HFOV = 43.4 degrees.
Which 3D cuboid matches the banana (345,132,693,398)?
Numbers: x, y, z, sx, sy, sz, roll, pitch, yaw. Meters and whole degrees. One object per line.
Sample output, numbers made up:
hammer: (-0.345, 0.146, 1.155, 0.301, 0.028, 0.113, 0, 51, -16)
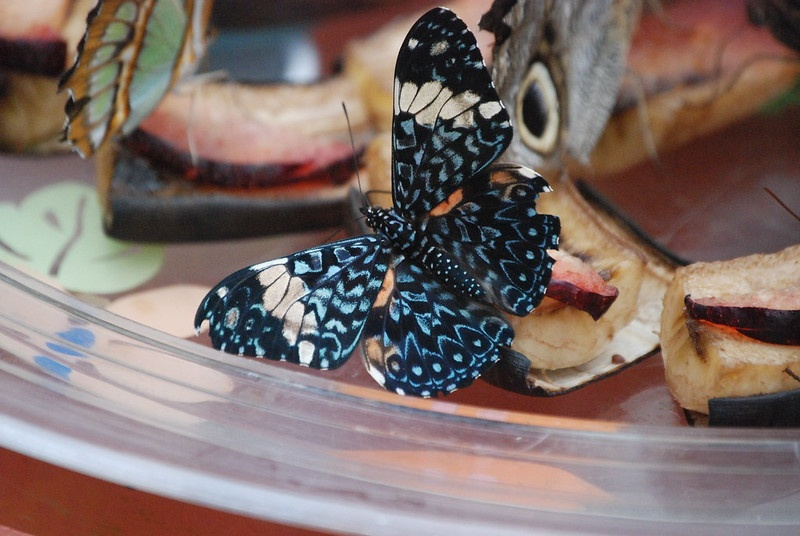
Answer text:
banana: (0.100, -0.004, 0.663, 0.147, 0.060, 0.166, -36, 76, -6)
